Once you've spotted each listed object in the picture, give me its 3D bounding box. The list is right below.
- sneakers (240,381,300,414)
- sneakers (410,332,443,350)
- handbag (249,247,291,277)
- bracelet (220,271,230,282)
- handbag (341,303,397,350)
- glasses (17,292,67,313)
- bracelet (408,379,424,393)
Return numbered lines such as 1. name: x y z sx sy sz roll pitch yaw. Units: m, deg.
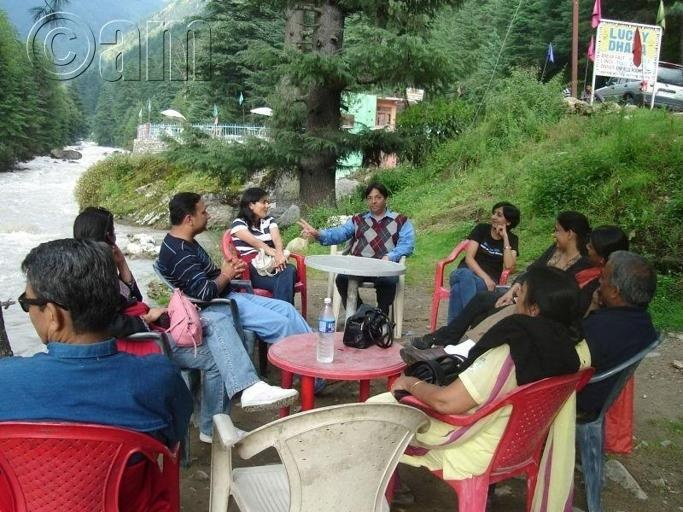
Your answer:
1. sneakers: -0.470 0.958 4.380 0.384 0.217 0.172 -9 14 0
2. sneakers: 0.683 0.665 5.161 0.279 0.134 0.111 5 27 -9
3. handbag: -0.731 0.057 6.284 0.252 0.269 0.193 -5 9 7
4. bracelet: -0.941 0.162 5.196 0.049 0.063 0.025 -17 -9 3
5. handbag: 0.215 0.505 4.507 0.287 0.290 0.291 -1 10 -21
6. glasses: -1.423 0.214 2.989 0.133 0.051 0.137 6 -3 -7
7. bracelet: 0.433 0.745 3.667 0.072 0.043 0.067 -11 -8 -13
